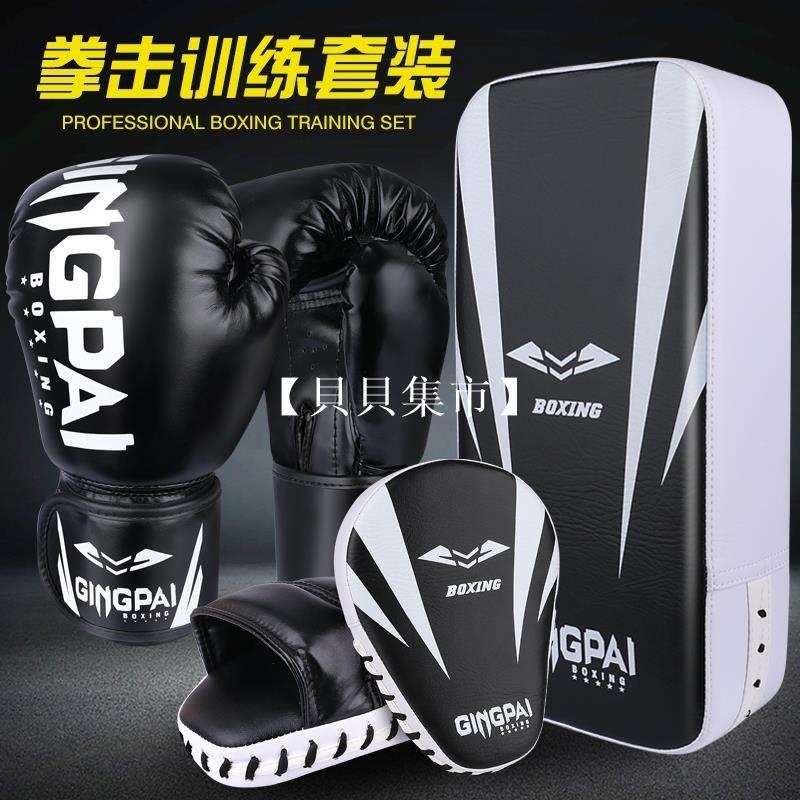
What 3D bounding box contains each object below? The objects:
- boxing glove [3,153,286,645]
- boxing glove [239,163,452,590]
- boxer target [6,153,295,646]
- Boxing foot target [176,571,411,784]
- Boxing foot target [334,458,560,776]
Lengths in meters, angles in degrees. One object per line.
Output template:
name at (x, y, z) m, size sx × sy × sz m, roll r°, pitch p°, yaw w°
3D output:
boxing glove at (-0.449, -0.062, 1.592) m, size 0.402 × 1.126 × 0.433 m, roll -12°, pitch 20°, yaw -28°
boxing glove at (-0.109, -0.107, 2.021) m, size 0.521 × 0.840 × 0.652 m, roll -2°, pitch 23°, yaw -4°
boxer target at (-0.448, 0.000, 1.612) m, size 0.402 × 1.125 × 0.436 m, roll -11°, pitch 20°, yaw -27°
Boxing foot target at (-0.144, 0.444, 1.414) m, size 0.393 × 0.206 × 0.245 m, roll -13°, pitch 19°, yaw -35°
Boxing foot target at (0.105, 0.338, 1.352) m, size 0.405 × 0.474 × 0.131 m, roll -6°, pitch 10°, yaw -23°
